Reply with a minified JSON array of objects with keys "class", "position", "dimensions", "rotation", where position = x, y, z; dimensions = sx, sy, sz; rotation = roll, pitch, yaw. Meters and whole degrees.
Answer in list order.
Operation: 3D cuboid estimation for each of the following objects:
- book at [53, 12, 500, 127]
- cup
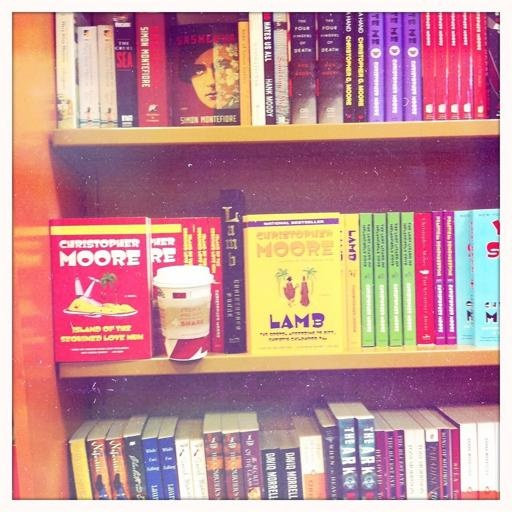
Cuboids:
[{"class":"book","position":[0.069,-0.447,1.515],"dimensions":[0.977,0.293,0.052],"rotation":[-3,6,0]},{"class":"cup","position":[-0.165,0.139,1.504],"dimensions":[0.152,0.184,0.137],"rotation":[0,-4,-16]}]
